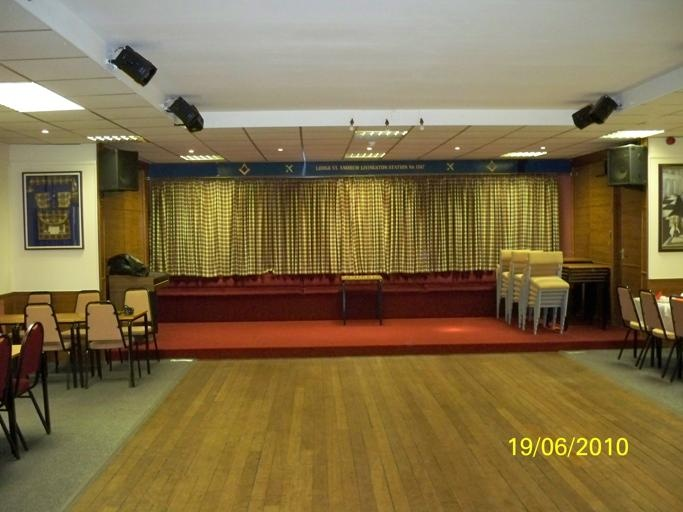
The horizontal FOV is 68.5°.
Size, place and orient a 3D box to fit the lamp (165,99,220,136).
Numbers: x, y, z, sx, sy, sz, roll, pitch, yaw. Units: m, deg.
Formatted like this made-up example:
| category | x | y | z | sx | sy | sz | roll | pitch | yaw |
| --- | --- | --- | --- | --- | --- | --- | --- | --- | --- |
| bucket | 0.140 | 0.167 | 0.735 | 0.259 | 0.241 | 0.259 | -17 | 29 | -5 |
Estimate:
| category | x | y | z | sx | sy | sz | roll | pitch | yaw |
| --- | --- | --- | --- | --- | --- | --- | --- | --- | --- |
| lamp | -2.141 | -1.927 | 6.806 | 0.449 | 0.439 | 0.690 | -3 | 8 | -18 |

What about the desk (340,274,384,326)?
| category | x | y | z | sx | sy | sz | roll | pitch | yaw |
| --- | --- | --- | --- | --- | --- | --- | --- | --- | --- |
| desk | 0.416 | 0.865 | 10.324 | 0.904 | 1.010 | 0.828 | 0 | 8 | 3 |

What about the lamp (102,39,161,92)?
| category | x | y | z | sx | sy | sz | roll | pitch | yaw |
| --- | --- | --- | --- | --- | --- | --- | --- | --- | --- |
| lamp | -2.199 | -2.004 | 5.211 | 0.385 | 0.201 | 0.161 | 35 | 10 | 8 |

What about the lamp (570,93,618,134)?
| category | x | y | z | sx | sy | sz | roll | pitch | yaw |
| --- | --- | --- | --- | --- | --- | --- | --- | --- | --- |
| lamp | 3.565 | -2.007 | 6.923 | 0.536 | 0.417 | 0.520 | -2 | 8 | -6 |

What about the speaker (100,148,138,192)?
| category | x | y | z | sx | sy | sz | roll | pitch | yaw |
| --- | --- | --- | --- | --- | --- | --- | --- | --- | --- |
| speaker | -3.807 | -1.467 | 8.536 | 0.407 | 0.754 | 0.788 | -1 | 1 | 6 |
